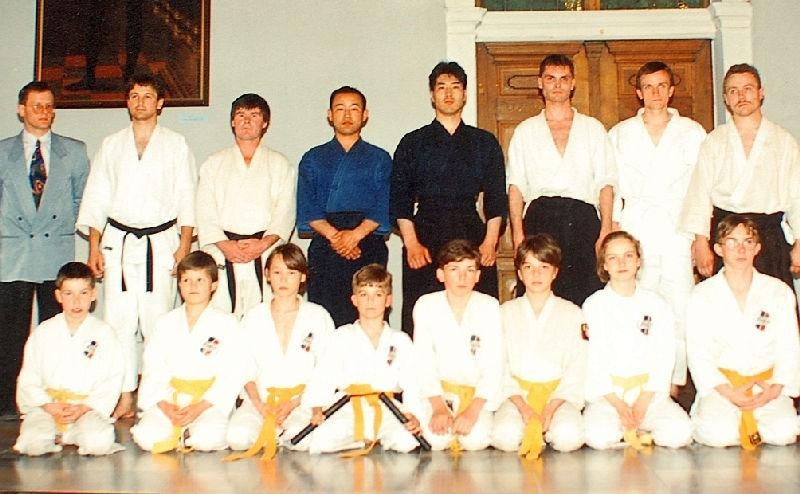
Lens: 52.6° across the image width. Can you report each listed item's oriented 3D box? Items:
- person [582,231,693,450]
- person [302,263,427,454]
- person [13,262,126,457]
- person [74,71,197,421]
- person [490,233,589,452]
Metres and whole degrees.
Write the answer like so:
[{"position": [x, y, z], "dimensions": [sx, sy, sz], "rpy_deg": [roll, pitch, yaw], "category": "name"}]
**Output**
[{"position": [1.723, 0.676, 5.914], "dimensions": [0.776, 1.440, 0.763], "rpy_deg": [2, 16, 10], "category": "person"}, {"position": [-0.255, 0.816, 5.938], "dimensions": [0.856, 1.242, 0.725], "rpy_deg": [-1, 15, 0], "category": "person"}, {"position": [-2.443, 0.823, 5.939], "dimensions": [0.797, 1.239, 0.866], "rpy_deg": [-6, 16, -18], "category": "person"}, {"position": [-2.175, -0.076, 6.758], "dimensions": [1.074, 2.544, 0.707], "rpy_deg": [2, 21, -23], "category": "person"}, {"position": [1.037, 0.715, 5.894], "dimensions": [0.643, 1.409, 0.847], "rpy_deg": [2, 16, 12], "category": "person"}]
